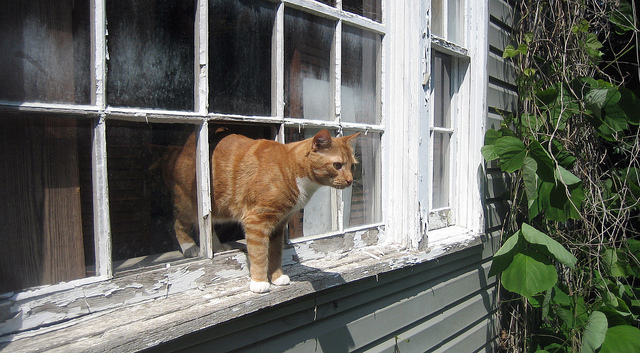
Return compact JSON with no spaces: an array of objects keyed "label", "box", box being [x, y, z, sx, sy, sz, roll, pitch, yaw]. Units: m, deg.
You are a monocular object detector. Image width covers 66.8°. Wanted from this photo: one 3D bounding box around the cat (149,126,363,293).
[{"label":"cat","box":[-0.460,0.201,3.457,1.348,1.160,0.384,-3,3,0]}]
